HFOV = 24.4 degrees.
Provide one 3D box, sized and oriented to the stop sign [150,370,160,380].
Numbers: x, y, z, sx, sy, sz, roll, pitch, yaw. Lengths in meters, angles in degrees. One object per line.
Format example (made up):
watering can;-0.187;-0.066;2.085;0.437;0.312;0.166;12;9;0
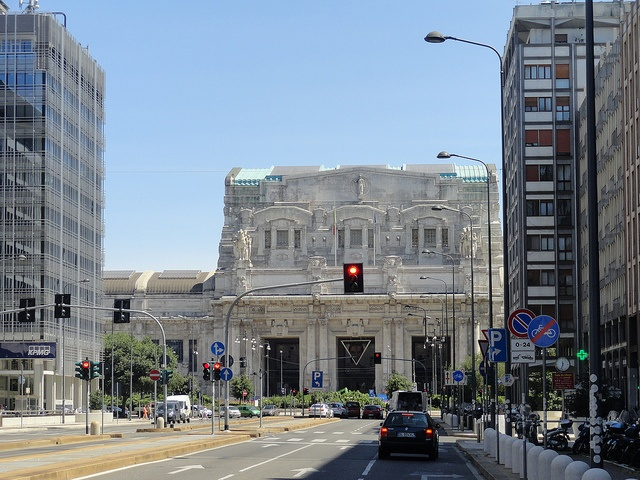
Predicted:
stop sign;-13.365;10.800;119.095;0.720;0.858;0.788;2;-5;0

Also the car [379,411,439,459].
car;5.846;12.851;98.454;3.267;3.205;4.520;-3;-11;7

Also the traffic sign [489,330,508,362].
traffic sign;11.906;6.761;97.325;1.194;2.407;1.770;-5;-14;6

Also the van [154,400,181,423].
van;-14.389;16.139;139.990;1.741;1.673;3.259;-2;-14;1

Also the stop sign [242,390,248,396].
stop sign;-7.116;14.501;140.596;0.488;0.558;0.526;5;-19;-4

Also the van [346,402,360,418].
van;3.897;18.895;164.613;1.402;1.718;3.267;-5;-15;6
